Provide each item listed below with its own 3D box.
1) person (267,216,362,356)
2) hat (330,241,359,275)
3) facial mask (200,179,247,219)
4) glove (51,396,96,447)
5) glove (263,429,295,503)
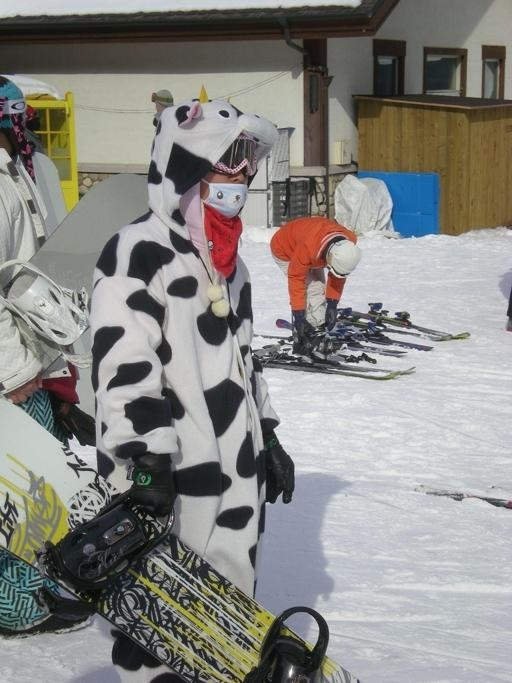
[{"bbox_3d":[0.502,-0.429,7.521,0.658,0.955,1.525,-29,-27,-11],"label":"person"},{"bbox_3d":[0.665,-0.628,6.624,0.232,0.283,0.326,-1,7,4],"label":"hat"},{"bbox_3d":[-0.075,-0.397,2.416,0.105,0.077,0.105,22,24,34],"label":"facial mask"},{"bbox_3d":[-0.632,0.274,3.116,0.155,0.203,0.129,-23,23,-40],"label":"glove"},{"bbox_3d":[0.070,0.382,2.699,0.126,0.204,0.132,-14,20,-39],"label":"glove"}]
